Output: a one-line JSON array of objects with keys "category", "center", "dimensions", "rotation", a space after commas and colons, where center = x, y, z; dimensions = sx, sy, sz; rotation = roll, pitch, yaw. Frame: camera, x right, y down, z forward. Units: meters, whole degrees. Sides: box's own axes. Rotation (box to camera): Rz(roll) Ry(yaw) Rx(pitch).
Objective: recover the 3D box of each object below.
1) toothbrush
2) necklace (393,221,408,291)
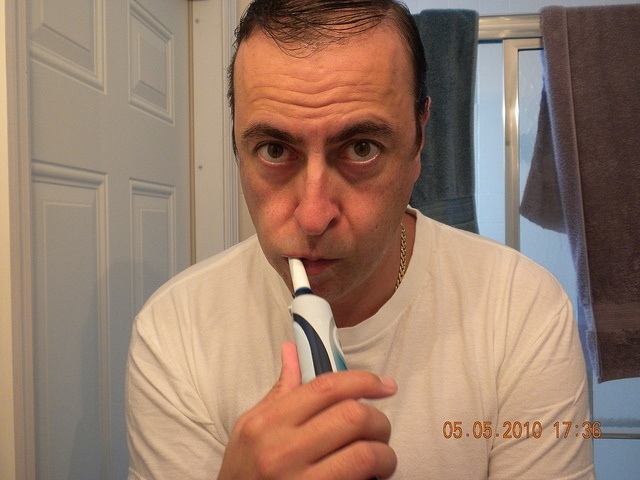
[{"category": "toothbrush", "center": [-0.020, 0.158, 1.246], "dimensions": [0.080, 0.248, 0.137], "rotation": [0, -4, -43]}, {"category": "necklace", "center": [0.186, 0.037, 1.466], "dimensions": [0.009, 0.175, 0.023], "rotation": [24, -30, -33]}]
